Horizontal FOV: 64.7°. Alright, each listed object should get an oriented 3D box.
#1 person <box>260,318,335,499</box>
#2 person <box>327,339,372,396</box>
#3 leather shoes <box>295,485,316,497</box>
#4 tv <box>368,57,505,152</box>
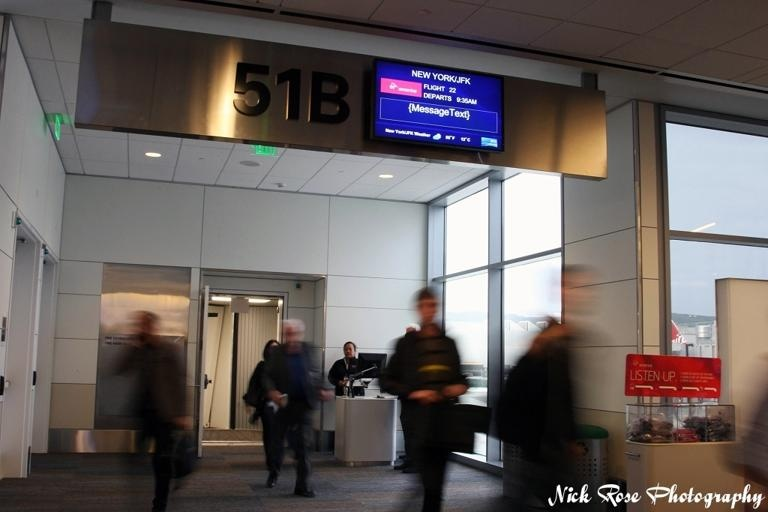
[{"bbox_3d":[-1.120,1.875,7.663,0.792,2.139,0.684,4,-8,-11],"label":"person"},{"bbox_3d":[-0.640,1.930,10.550,0.978,1.270,0.874,1,-18,-1],"label":"person"},{"bbox_3d":[-0.963,2.881,7.446,0.282,0.183,0.098,-2,-10,8],"label":"leather shoes"},{"bbox_3d":[0.462,-1.362,5.574,1.009,0.532,0.117,1,-4,-17],"label":"tv"}]
